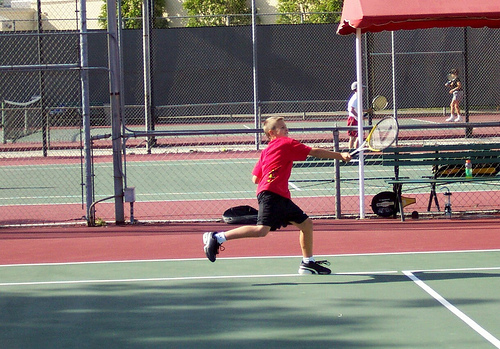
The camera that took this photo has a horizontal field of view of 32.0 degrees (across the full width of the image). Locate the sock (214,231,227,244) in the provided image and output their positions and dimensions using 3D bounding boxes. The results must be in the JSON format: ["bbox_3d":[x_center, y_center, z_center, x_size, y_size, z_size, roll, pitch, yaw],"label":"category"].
[{"bbox_3d":[-0.429,0.937,13.060,0.268,0.187,0.142,-2,12,14],"label":"sock"}]

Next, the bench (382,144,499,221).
[{"bbox_3d":[3.535,0.135,16.232,2.211,1.372,0.886,-1,9,-10],"label":"bench"}]

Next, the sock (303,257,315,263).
[{"bbox_3d":[0.889,1.282,13.145,0.186,0.094,0.138,-1,9,-7],"label":"sock"}]

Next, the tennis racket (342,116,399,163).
[{"bbox_3d":[1.877,-0.517,13.405,1.060,0.413,0.058,-37,-13,3],"label":"tennis racket"}]

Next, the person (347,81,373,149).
[{"bbox_3d":[2.870,-1.478,22.302,0.730,1.809,0.639,-5,22,9],"label":"person"}]
